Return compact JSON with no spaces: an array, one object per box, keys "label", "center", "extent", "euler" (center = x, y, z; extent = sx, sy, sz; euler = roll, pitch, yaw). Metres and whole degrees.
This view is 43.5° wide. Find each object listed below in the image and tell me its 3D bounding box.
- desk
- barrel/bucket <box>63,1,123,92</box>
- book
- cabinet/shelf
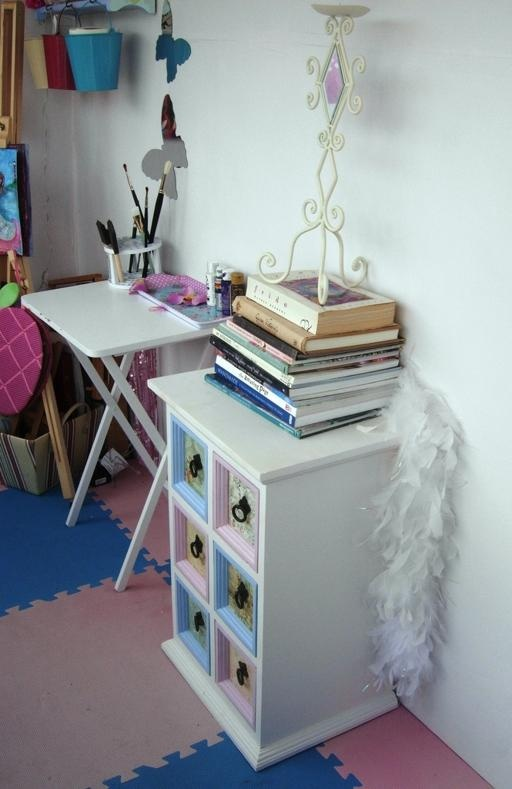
[{"label":"desk","center":[-0.338,0.088,1.832],"extent":[0.501,0.611,0.432],"euler":[19,31,41]},{"label":"barrel/bucket","center":[-0.491,-1.017,1.930],"extent":[0.166,0.178,0.149],"euler":[3,19,-6]},{"label":"book","center":[0.090,-0.060,1.275],"extent":[0.282,0.264,0.381],"euler":[-16,31,-27]},{"label":"cabinet/shelf","center":[0.029,0.341,1.410],"extent":[0.431,0.700,0.484],"euler":[-8,22,-33]}]
